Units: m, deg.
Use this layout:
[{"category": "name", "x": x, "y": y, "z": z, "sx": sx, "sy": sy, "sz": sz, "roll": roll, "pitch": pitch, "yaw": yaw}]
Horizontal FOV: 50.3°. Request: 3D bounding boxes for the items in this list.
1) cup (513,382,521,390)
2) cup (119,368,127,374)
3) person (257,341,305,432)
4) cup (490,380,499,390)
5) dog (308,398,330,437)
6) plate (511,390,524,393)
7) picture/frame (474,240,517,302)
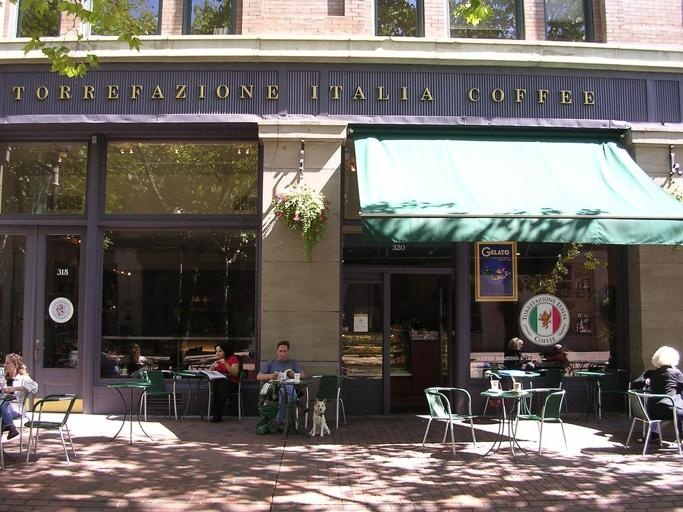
[{"category": "cup", "x": 3.043, "y": 2.249, "z": 12.608, "sx": 0.114, "sy": 0.164, "sz": 0.368, "roll": 1, "pitch": 4, "yaw": 15}, {"category": "cup", "x": -4.493, "y": 2.374, "z": 14.984, "sx": 0.178, "sy": 0.162, "sz": 0.096, "roll": 0, "pitch": 1, "yaw": -2}, {"category": "person", "x": -1.135, "y": 2.427, "z": 13.757, "sx": 0.878, "sy": 1.627, "sz": 0.922, "roll": 2, "pitch": -8, "yaw": -13}, {"category": "cup", "x": 2.640, "y": 2.238, "z": 12.678, "sx": 0.152, "sy": 0.164, "sz": 0.147, "roll": 0, "pitch": -3, "yaw": 0}, {"category": "dog", "x": -0.420, "y": 2.981, "z": 13.445, "sx": 0.471, "sy": 0.631, "sz": 0.750, "roll": 4, "pitch": -15, "yaw": 0}, {"category": "plate", "x": 3.012, "y": 2.319, "z": 12.507, "sx": 0.141, "sy": 0.045, "sz": 0.142, "roll": 0, "pitch": -3, "yaw": 27}, {"category": "picture/frame", "x": 3.205, "y": 0.345, "z": 15.012, "sx": 1.224, "sy": 1.664, "sz": 0.165, "roll": 0, "pitch": -2, "yaw": 1}]
